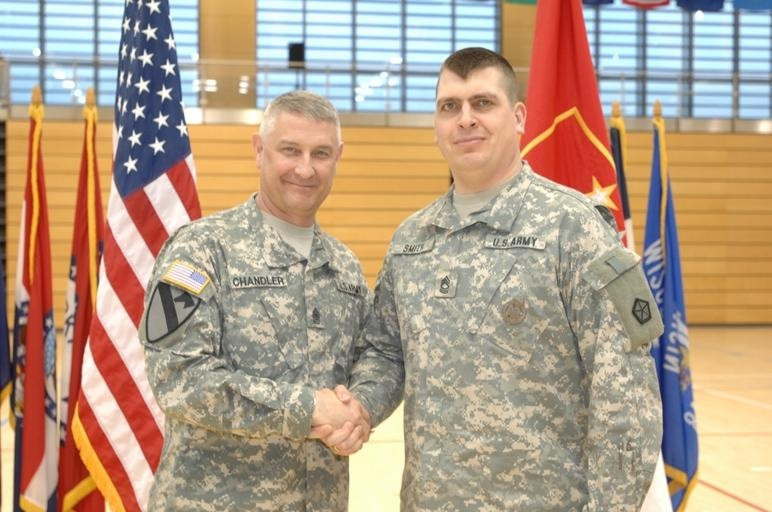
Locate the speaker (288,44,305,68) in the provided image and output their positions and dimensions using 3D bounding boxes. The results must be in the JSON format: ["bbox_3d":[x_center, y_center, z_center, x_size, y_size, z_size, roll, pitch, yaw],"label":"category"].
[{"bbox_3d":[-1.556,-3.392,19.332,0.431,0.415,0.779,1,11,-4],"label":"speaker"}]
